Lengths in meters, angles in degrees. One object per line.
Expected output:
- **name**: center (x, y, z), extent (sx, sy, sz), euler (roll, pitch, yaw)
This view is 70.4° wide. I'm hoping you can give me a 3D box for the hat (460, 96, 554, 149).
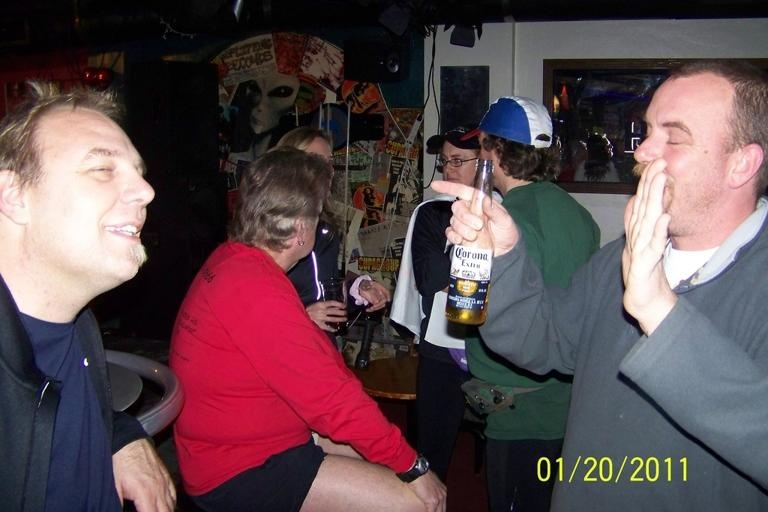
- **hat**: center (0.659, -0.688, 2.820), extent (0.379, 0.181, 0.266), euler (15, 22, 31)
